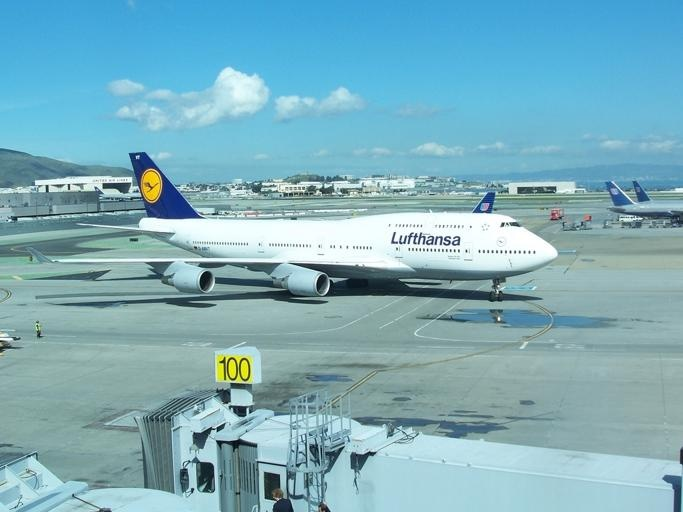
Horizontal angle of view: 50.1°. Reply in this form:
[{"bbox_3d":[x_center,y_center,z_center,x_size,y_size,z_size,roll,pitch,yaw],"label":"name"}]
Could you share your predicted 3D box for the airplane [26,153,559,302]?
[{"bbox_3d":[-0.848,-0.616,54.924,27.023,3.639,23.308,2,7,29],"label":"airplane"}]
